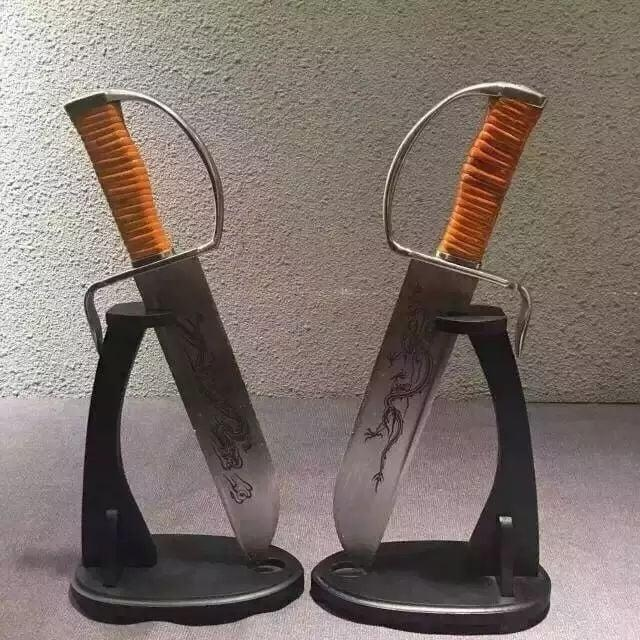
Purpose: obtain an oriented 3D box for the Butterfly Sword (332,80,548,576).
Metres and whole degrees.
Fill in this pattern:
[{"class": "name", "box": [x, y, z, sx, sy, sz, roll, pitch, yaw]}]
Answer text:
[{"class": "Butterfly Sword", "box": [0.099, 0.010, 0.648, 0.141, 0.411, 0.058, 13, 14, 8]}]
